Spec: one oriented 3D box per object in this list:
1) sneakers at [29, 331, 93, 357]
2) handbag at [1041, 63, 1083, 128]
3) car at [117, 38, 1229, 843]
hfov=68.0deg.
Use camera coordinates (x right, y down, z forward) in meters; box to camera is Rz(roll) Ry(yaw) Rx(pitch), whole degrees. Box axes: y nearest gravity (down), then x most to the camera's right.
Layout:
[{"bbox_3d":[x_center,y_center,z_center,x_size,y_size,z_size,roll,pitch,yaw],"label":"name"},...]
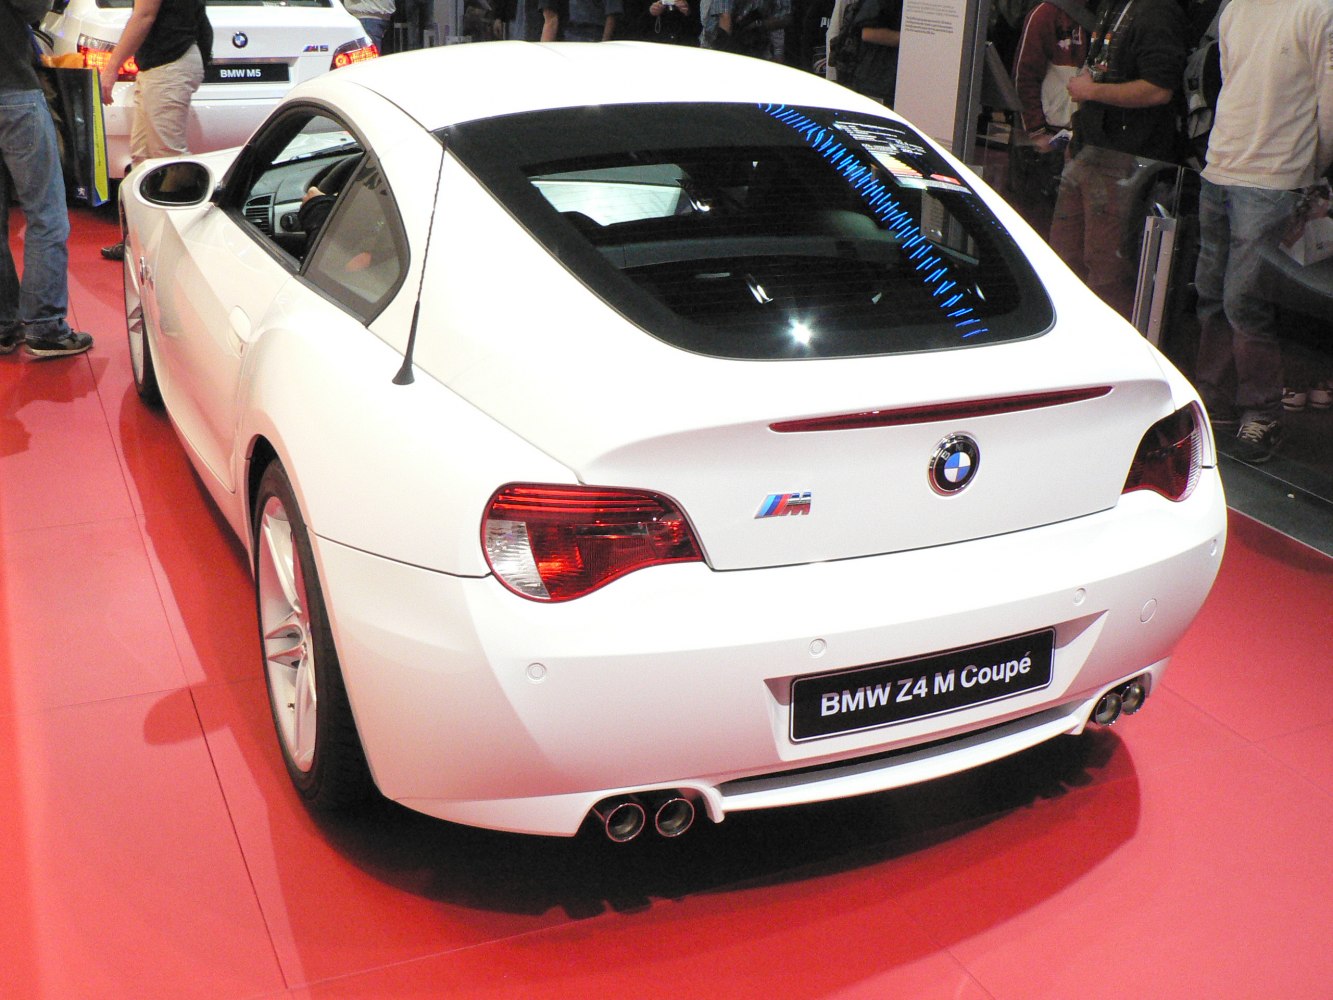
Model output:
[{"bbox_3d":[-3.080,-0.797,5.038,0.288,0.130,0.109,-13,50,-34],"label":"sneakers"},{"bbox_3d":[2.242,-2.319,5.706,0.273,0.383,0.128,13,-20,-32],"label":"handbag"},{"bbox_3d":[-0.278,-0.767,3.749,2.308,1.523,4.442,-6,26,-23],"label":"car"}]
